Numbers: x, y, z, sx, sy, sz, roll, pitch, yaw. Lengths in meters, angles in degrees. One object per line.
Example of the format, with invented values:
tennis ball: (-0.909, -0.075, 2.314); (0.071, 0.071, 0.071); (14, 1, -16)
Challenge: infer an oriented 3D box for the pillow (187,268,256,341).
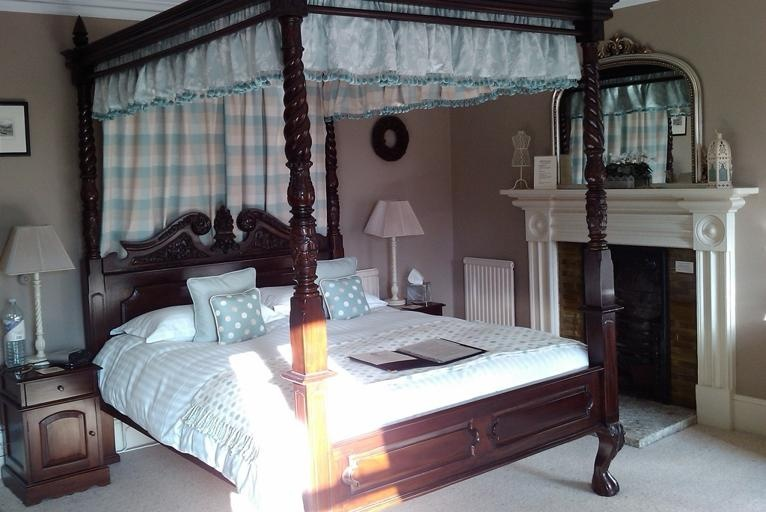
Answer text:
pillow: (-1.385, 0.441, 4.777); (0.514, 0.476, 0.170); (-14, -4, -44)

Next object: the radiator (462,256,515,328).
radiator: (1.315, 0.421, 6.752); (0.094, 0.887, 0.767); (-8, 10, -44)

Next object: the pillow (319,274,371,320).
pillow: (-0.382, 0.402, 5.432); (0.448, 0.403, 0.138); (-6, -18, -39)

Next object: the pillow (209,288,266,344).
pillow: (-1.217, 0.495, 4.669); (0.434, 0.402, 0.123); (-3, -7, -37)

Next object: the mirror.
mirror: (2.421, -1.413, 5.297); (1.763, 1.787, 0.148); (2, 7, 44)
